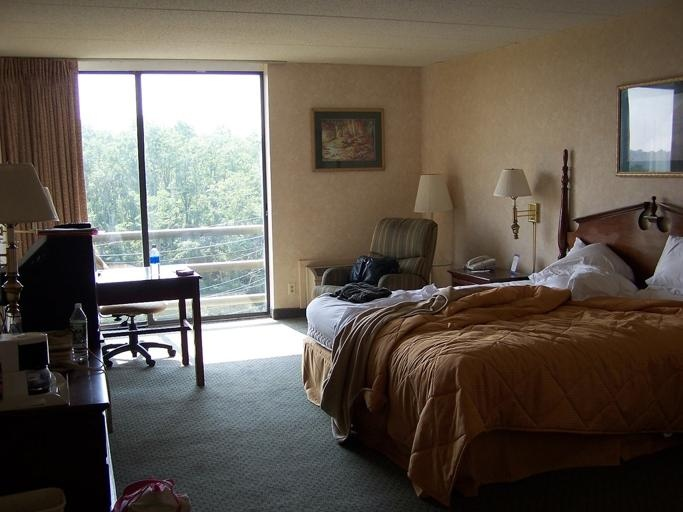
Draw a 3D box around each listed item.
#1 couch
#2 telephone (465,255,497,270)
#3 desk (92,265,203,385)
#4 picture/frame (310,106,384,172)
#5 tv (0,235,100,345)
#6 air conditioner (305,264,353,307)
[{"bbox_3d":[0.338,-0.058,6.002,1.073,1.113,0.949,0,2,-33],"label":"couch"},{"bbox_3d":[1.490,0.075,5.843,0.199,0.095,0.198,-27,11,-34],"label":"telephone"},{"bbox_3d":[-1.552,0.559,4.857,1.121,1.018,0.978,-2,4,-18],"label":"desk"},{"bbox_3d":[0.018,-1.464,6.748,0.844,0.637,0.038,-1,4,-15],"label":"picture/frame"},{"bbox_3d":[-1.511,0.132,2.939,0.481,0.881,0.490,0,2,-22],"label":"tv"},{"bbox_3d":[-0.206,0.297,6.214,0.530,0.631,0.473,0,2,-30],"label":"air conditioner"}]
